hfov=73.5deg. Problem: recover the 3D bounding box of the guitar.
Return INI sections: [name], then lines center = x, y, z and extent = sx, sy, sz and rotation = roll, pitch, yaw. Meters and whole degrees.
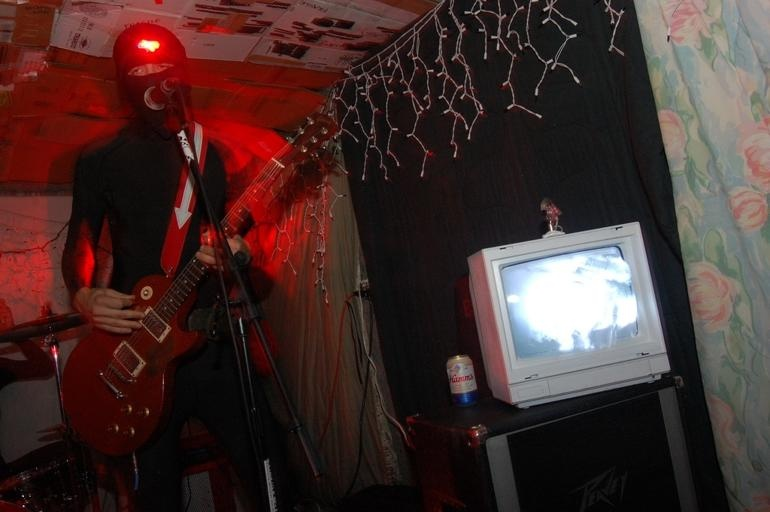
[guitar]
center = -0.832, 0.112, 2.953
extent = 1.448, 1.688, 1.007
rotation = -13, -15, 11
